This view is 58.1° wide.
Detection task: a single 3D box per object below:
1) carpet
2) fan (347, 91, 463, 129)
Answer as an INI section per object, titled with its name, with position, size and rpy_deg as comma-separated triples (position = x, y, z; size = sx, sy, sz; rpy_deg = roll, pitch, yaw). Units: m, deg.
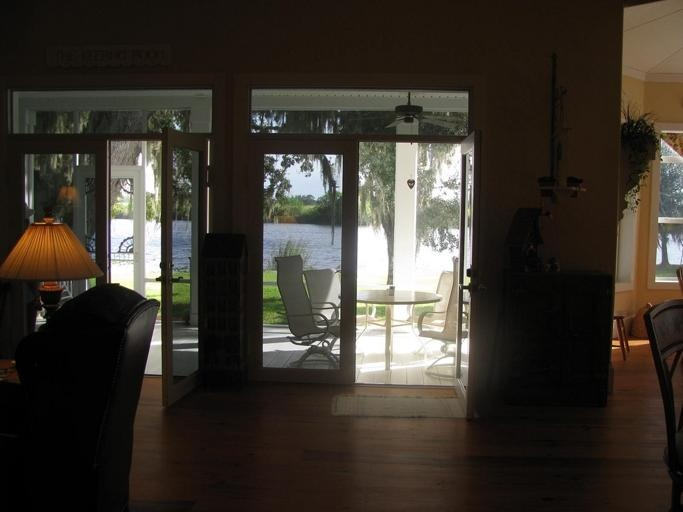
[carpet]
position = 0.490, 1.314, 5.388
size = 1.148, 0.047, 0.471
rpy_deg = 1, 11, 0
[fan]
position = 0.597, -1.373, 5.758
size = 1.133, 0.333, 0.075
rpy_deg = 2, 10, 5
